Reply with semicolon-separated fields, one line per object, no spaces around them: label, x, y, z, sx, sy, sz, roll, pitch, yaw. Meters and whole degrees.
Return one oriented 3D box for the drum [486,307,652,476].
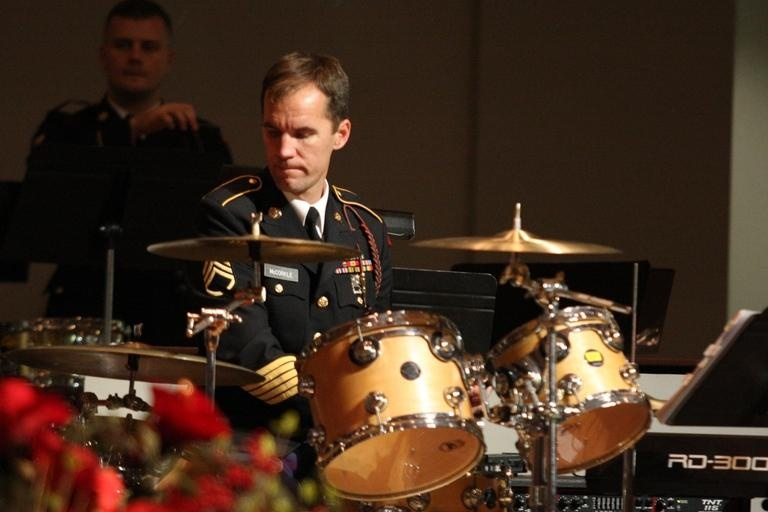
drum;0.693;0.521;3.408;0.709;0.668;0.348;7;-7;-32

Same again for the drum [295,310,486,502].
drum;0.073;0.559;3.343;0.702;0.491;0.697;-8;-29;-5

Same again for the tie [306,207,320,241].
tie;-0.291;-0.127;3.658;0.034;0.133;0.097;-1;0;34
